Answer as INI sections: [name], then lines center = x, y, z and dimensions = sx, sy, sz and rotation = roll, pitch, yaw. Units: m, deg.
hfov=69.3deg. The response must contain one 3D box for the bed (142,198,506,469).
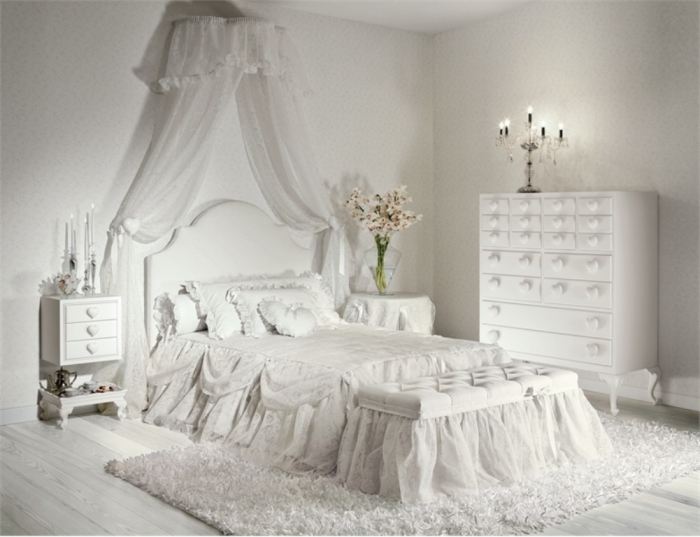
[bed]
center = -0.279, 0.378, 3.983
dimensions = 2.193, 1.785, 1.919
rotation = 0, 2, 43

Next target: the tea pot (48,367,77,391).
[tea pot]
center = -2.226, 0.855, 3.944
dimensions = 0.186, 0.186, 0.169
rotation = 4, -2, -43

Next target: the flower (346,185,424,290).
[flower]
center = 0.293, -0.190, 5.310
dimensions = 0.508, 0.769, 0.501
rotation = 7, -15, -19

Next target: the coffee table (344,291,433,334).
[coffee table]
center = 0.420, 0.429, 5.044
dimensions = 0.528, 0.302, 0.513
rotation = 2, -1, 13

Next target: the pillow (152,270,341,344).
[pillow]
center = -0.924, 0.301, 4.206
dimensions = 1.064, 0.296, 0.702
rotation = -2, 34, -22

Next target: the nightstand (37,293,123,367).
[nightstand]
center = -2.079, 0.483, 3.954
dimensions = 0.502, 0.490, 0.366
rotation = 0, 2, -45

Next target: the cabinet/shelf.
[cabinet/shelf]
center = 1.845, 0.232, 4.612
dimensions = 0.543, 1.679, 1.245
rotation = -12, 12, -43

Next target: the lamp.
[lamp]
center = 1.812, -1.117, 5.189
dimensions = 0.755, 0.909, 0.792
rotation = 0, 1, -5

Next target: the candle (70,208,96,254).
[candle]
center = -2.149, -0.302, 4.066
dimensions = 0.181, 0.389, 0.046
rotation = -2, 4, -33
